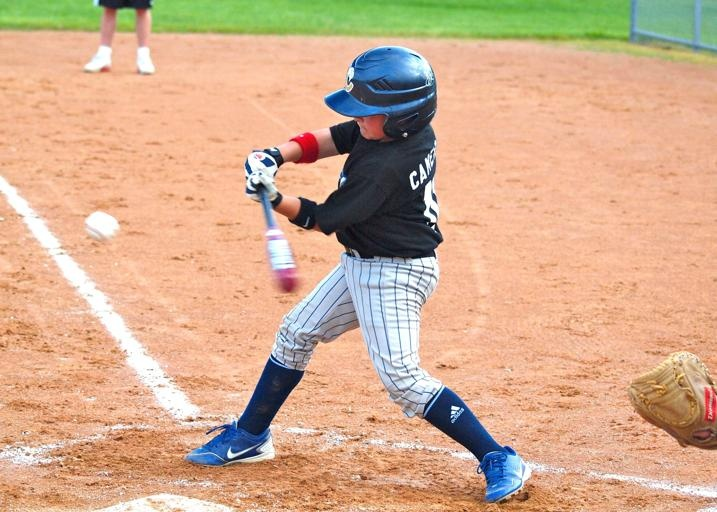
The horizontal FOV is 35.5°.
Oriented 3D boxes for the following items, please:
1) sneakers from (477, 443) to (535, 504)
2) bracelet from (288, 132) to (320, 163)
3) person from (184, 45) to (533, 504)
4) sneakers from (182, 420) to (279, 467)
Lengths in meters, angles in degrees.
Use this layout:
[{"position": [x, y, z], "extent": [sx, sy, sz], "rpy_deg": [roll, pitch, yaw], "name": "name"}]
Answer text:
[{"position": [0.838, 1.251, 6.436], "extent": [0.179, 0.197, 0.405], "rpy_deg": [-40, 4, 21], "name": "sneakers"}, {"position": [-0.323, -0.626, 6.687], "extent": [0.176, 0.156, 0.179], "rpy_deg": [7, 50, -27], "name": "bracelet"}, {"position": [0.056, 0.072, 6.522], "extent": [1.852, 2.547, 0.670], "rpy_deg": [6, 15, 9], "name": "person"}, {"position": [-0.790, 1.133, 6.717], "extent": [0.569, 0.189, 0.176], "rpy_deg": [1, 9, -33], "name": "sneakers"}]
